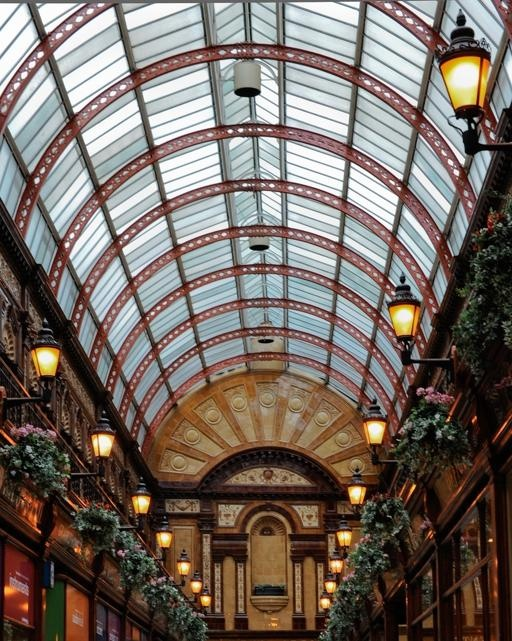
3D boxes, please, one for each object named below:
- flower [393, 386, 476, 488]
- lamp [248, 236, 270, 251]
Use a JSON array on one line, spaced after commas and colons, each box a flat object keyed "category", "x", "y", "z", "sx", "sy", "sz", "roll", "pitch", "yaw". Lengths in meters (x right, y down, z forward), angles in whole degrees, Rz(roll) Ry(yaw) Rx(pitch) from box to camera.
[{"category": "flower", "x": 2.184, "y": 1.452, "z": 9.506, "sx": 0.563, "sy": 1.079, "sz": 1.153, "roll": 11, "pitch": -33, "yaw": -16}, {"category": "lamp", "x": 0.108, "y": -3.028, "z": 29.264, "sx": 0.605, "sy": 0.540, "sz": 0.736, "roll": 27, "pitch": -40, "yaw": -36}]
